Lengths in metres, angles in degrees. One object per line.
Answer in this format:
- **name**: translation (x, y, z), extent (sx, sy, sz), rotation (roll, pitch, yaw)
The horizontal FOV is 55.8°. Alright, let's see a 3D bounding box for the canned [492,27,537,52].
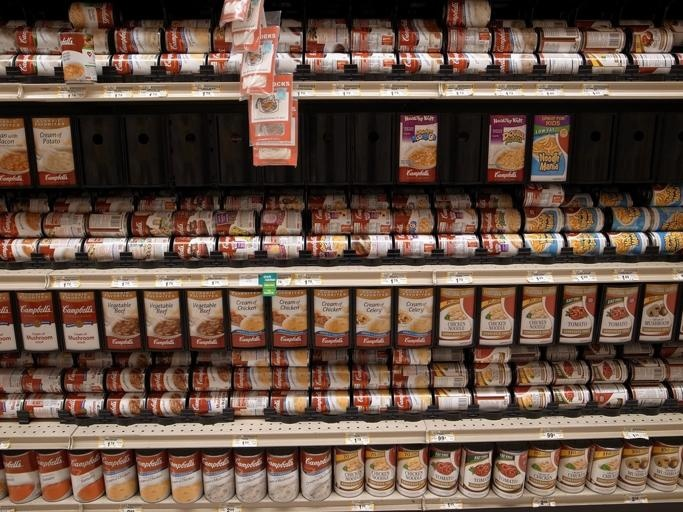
- **canned**: translation (1.030, -1.269, 3.823), extent (0.265, 0.072, 0.125), rotation (-2, -62, -5)

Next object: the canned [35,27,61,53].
- **canned**: translation (-1.710, -1.263, 3.775), extent (0.155, 0.049, 0.128), rotation (0, -68, -3)

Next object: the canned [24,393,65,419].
- **canned**: translation (-1.823, 0.916, 4.002), extent (0.292, 0.169, 0.162), rotation (-2, -92, 3)

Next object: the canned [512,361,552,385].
- **canned**: translation (1.208, 0.733, 4.113), extent (0.274, 0.155, 0.154), rotation (-1, -37, -3)

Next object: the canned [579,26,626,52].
- **canned**: translation (1.565, -1.279, 3.846), extent (0.263, 0.055, 0.118), rotation (-2, -62, -5)

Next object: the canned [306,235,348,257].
- **canned**: translation (-0.081, -0.058, 3.894), extent (0.291, 0.153, 0.162), rotation (1, -31, -2)

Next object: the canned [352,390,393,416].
- **canned**: translation (0.191, 0.893, 3.977), extent (0.281, 0.156, 0.150), rotation (3, -94, -4)

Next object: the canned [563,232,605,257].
- **canned**: translation (1.490, -0.068, 3.933), extent (0.249, 0.096, 0.107), rotation (-1, -62, -5)

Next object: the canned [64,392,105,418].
- **canned**: translation (-1.566, 0.914, 3.957), extent (0.175, 0.163, 0.232), rotation (-1, -92, 10)

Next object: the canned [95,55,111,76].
- **canned**: translation (-1.362, -1.083, 3.699), extent (0.120, 0.065, 0.110), rotation (9, -74, 12)

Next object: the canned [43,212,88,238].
- **canned**: translation (-1.670, -0.182, 3.945), extent (0.309, 0.178, 0.165), rotation (0, -86, 11)

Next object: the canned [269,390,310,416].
- **canned**: translation (-0.313, 0.910, 3.999), extent (0.244, 0.134, 0.102), rotation (-3, -62, -4)

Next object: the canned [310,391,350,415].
- **canned**: translation (-0.064, 0.906, 3.996), extent (0.235, 0.124, 0.105), rotation (-1, -62, -5)

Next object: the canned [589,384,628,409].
- **canned**: translation (1.667, 0.867, 4.067), extent (0.195, 0.133, 0.132), rotation (2, -53, -1)

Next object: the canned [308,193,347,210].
- **canned**: translation (-0.080, -0.333, 4.037), extent (0.224, 0.090, 0.088), rotation (-2, -92, -5)

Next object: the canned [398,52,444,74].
- **canned**: translation (0.461, -1.080, 3.734), extent (0.277, 0.156, 0.149), rotation (-4, -78, 3)

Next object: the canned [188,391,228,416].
- **canned**: translation (-0.808, 0.902, 3.963), extent (0.261, 0.154, 0.153), rotation (-2, -101, -6)

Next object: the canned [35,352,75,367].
- **canned**: translation (-1.786, 0.647, 4.030), extent (0.237, 0.058, 0.093), rotation (-4, -62, -4)

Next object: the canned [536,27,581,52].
- **canned**: translation (1.302, -1.270, 3.829), extent (0.262, 0.065, 0.124), rotation (-2, -62, -5)

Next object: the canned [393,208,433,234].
- **canned**: translation (0.447, -0.210, 3.964), extent (0.295, 0.163, 0.160), rotation (-2, -52, -5)

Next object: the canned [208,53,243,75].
- **canned**: translation (-0.666, -1.105, 3.725), extent (0.196, 0.132, 0.113), rotation (-3, -62, -4)

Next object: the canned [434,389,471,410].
- **canned**: translation (0.697, 0.889, 4.003), extent (0.189, 0.127, 0.106), rotation (0, -70, 0)

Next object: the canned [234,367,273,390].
- **canned**: translation (-0.545, 0.761, 3.992), extent (0.188, 0.161, 0.157), rotation (0, -109, 0)

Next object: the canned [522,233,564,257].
- **canned**: translation (1.238, -0.066, 3.974), extent (0.196, 0.138, 0.130), rotation (1, -99, 3)

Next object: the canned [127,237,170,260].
- **canned**: translation (-1.153, -0.039, 3.871), extent (0.276, 0.112, 0.115), rotation (-1, -96, -4)

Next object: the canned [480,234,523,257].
- **canned**: translation (0.977, -0.066, 3.925), extent (0.253, 0.122, 0.096), rotation (-2, -62, -5)

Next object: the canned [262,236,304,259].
- **canned**: translation (-0.342, -0.052, 3.875), extent (0.274, 0.158, 0.153), rotation (-5, -89, -1)

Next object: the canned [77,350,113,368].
- **canned**: translation (-1.524, 0.637, 4.011), extent (0.130, 0.071, 0.069), rotation (-2, -106, 5)

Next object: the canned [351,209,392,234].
- **canned**: translation (0.193, -0.209, 3.981), extent (0.252, 0.112, 0.121), rotation (-2, -62, -5)

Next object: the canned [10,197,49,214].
- **canned**: translation (-1.913, -0.309, 3.987), extent (0.232, 0.092, 0.071), rotation (-5, -62, -3)

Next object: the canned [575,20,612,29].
- **canned**: translation (1.522, -1.392, 3.894), extent (0.151, 0.089, 0.032), rotation (2, -61, 6)

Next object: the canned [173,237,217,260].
- **canned**: translation (-0.875, -0.051, 3.871), extent (0.278, 0.120, 0.114), rotation (-2, -46, -3)

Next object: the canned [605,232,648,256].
- **canned**: translation (1.746, -0.078, 3.956), extent (0.247, 0.112, 0.116), rotation (-1, -62, -5)

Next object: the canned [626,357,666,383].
- **canned**: translation (1.934, 0.725, 4.085), extent (0.224, 0.100, 0.116), rotation (-3, -62, -4)

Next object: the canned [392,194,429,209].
- **canned**: translation (0.440, -0.337, 4.029), extent (0.244, 0.095, 0.062), rotation (-3, -62, -4)

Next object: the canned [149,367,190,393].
- **canned**: translation (-1.059, 0.764, 4.016), extent (0.255, 0.127, 0.119), rotation (-4, -62, -4)

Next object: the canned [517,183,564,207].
- **canned**: translation (1.245, -0.370, 3.968), extent (0.290, 0.164, 0.156), rotation (0, -93, 7)
